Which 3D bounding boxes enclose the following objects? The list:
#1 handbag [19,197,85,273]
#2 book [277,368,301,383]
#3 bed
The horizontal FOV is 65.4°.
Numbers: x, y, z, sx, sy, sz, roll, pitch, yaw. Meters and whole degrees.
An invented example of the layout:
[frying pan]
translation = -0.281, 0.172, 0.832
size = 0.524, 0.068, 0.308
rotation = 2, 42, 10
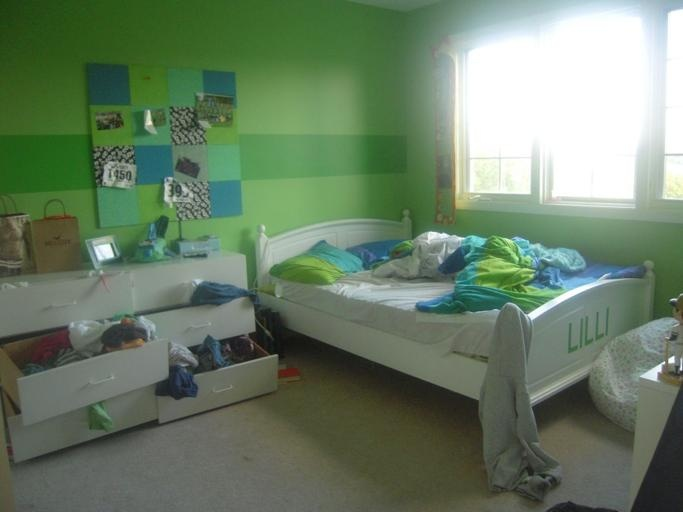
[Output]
[handbag]
translation = -1.995, -0.134, 3.609
size = 0.454, 0.714, 0.247
rotation = -5, 7, -39
[book]
translation = -0.407, 0.911, 4.035
size = 0.125, 0.032, 0.124
rotation = 2, 10, 4
[bed]
translation = 0.610, 0.406, 3.991
size = 2.175, 1.018, 1.486
rotation = 8, 15, 44
